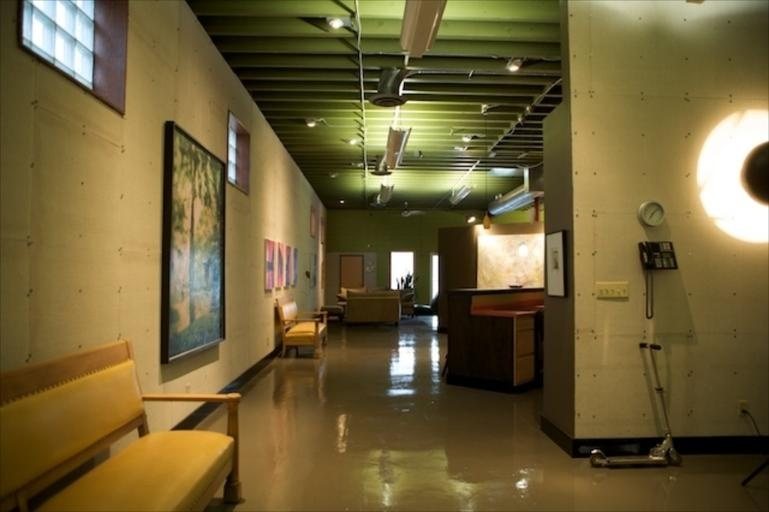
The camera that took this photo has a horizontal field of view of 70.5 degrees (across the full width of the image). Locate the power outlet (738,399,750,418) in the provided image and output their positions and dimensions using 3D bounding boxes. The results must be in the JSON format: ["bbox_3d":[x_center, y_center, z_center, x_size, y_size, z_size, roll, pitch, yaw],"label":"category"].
[{"bbox_3d":[3.522,1.469,5.328,0.128,0.151,0.011,0,5,-6],"label":"power outlet"}]

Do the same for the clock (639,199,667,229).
[{"bbox_3d":[2.638,-0.407,5.358,0.217,0.215,0.063,19,-9,-10],"label":"clock"}]

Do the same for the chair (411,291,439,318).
[{"bbox_3d":[1.269,1.528,17.200,0.862,0.525,0.854,0,-7,7],"label":"chair"}]

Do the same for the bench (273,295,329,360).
[{"bbox_3d":[-1.508,1.293,9.898,0.847,1.069,1.645,-1,-1,-1],"label":"bench"}]
